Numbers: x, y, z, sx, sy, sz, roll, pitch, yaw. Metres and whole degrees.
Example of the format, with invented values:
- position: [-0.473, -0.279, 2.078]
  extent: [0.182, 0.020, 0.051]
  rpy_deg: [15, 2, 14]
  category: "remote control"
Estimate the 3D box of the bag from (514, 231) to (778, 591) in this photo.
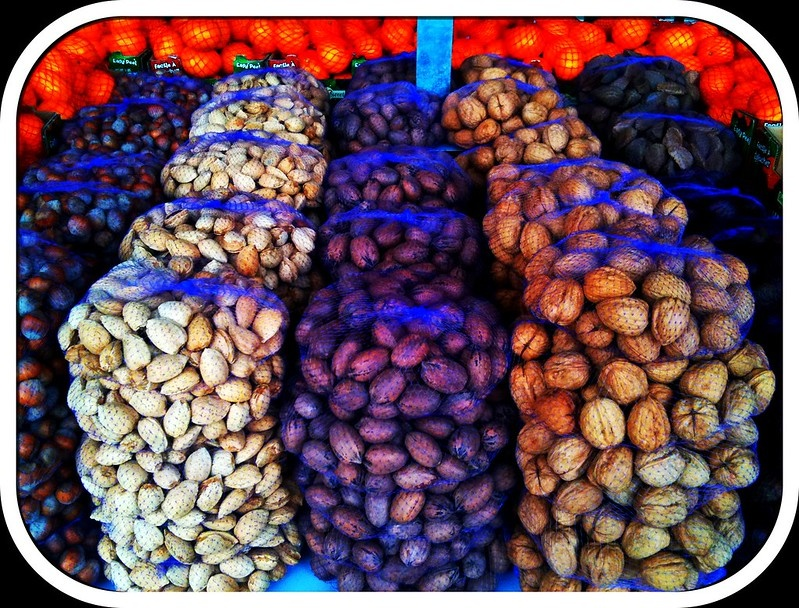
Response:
- position: [0.860, 0.388, 2.582]
  extent: [0.939, 0.586, 1.363]
  rpy_deg: [2, 84, 8]
  category: "bag"

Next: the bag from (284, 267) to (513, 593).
- position: [0.014, 0.534, 3.008]
  extent: [0.871, 0.641, 1.213]
  rpy_deg: [-3, 83, 6]
  category: "bag"

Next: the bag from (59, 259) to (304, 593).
- position: [-0.849, 0.499, 2.824]
  extent: [0.861, 1.013, 0.935]
  rpy_deg: [-8, 42, -5]
  category: "bag"
